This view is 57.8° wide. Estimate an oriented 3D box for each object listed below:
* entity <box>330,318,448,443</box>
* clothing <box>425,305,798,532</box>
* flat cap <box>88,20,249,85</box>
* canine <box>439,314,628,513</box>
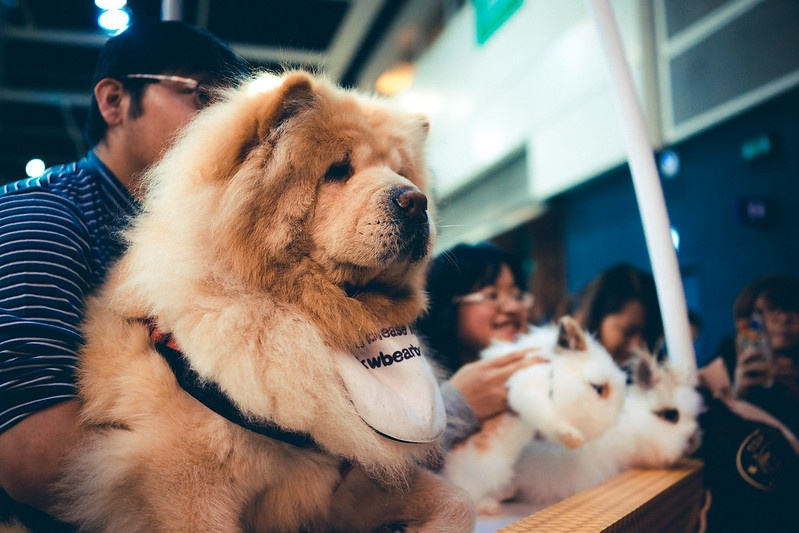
[{"bbox_3d":[-0.026,0.422,2.686,0.436,0.426,0.210,11,-1,4],"label":"entity"},{"bbox_3d":[0.726,0.591,2.876,1.385,0.697,0.509,-5,0,13],"label":"clothing"},{"bbox_3d":[-0.992,-0.904,3.118,0.397,0.141,0.396,-3,-8,16],"label":"flat cap"},{"bbox_3d":[0.535,0.501,3.059,0.804,0.601,0.457,-1,-10,25],"label":"canine"}]
